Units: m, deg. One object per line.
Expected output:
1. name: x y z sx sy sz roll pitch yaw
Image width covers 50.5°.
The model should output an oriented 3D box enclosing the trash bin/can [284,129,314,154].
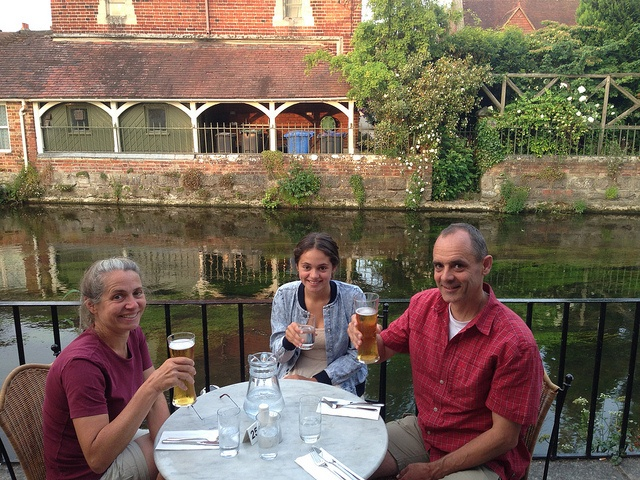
1. trash bin/can: -0.613 -3.003 20.549 0.748 0.689 0.755 -1 2 -23

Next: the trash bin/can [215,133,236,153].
1. trash bin/can: -2.971 -3.061 21.416 0.648 0.655 0.596 3 21 7

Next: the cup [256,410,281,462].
1. cup: -0.491 1.861 6.647 0.228 0.517 0.155 -3 5 -10

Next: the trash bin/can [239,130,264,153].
1. trash bin/can: -2.119 -3.121 21.291 0.789 0.831 0.831 3 21 4

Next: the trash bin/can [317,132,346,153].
1. trash bin/can: 0.327 -2.955 20.551 0.669 0.640 0.661 0 6 14

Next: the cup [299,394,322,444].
1. cup: -0.093 1.760 6.774 0.231 0.474 0.220 -2 5 0

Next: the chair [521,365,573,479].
1. chair: 2.413 2.004 7.187 0.488 1.351 0.656 -1 5 20

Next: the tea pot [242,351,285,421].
1. tea pot: -0.555 1.472 6.985 0.548 0.865 0.567 0 3 0
